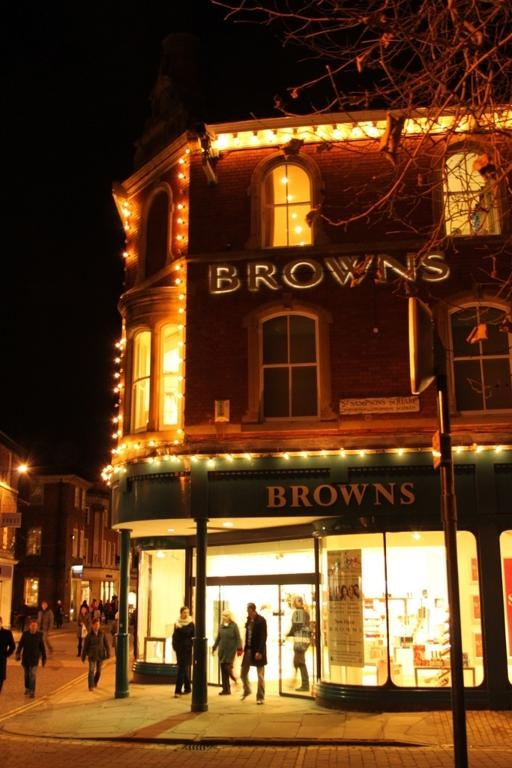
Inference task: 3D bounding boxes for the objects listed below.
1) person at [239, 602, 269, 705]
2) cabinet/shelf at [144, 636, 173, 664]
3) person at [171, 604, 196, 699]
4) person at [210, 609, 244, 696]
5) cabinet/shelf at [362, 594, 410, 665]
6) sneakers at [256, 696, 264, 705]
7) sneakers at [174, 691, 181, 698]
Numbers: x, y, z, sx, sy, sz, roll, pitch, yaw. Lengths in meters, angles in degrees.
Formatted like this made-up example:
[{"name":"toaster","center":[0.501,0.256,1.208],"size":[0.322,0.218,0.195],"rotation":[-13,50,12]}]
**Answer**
[{"name":"person","center":[-0.065,4.798,13.877],"size":[0.421,1.689,0.867],"rotation":[0,-15,-3]},{"name":"cabinet/shelf","center":[-2.142,5.753,16.868],"size":[0.646,0.620,0.654],"rotation":[0,-20,1]},{"name":"person","center":[-1.385,4.963,14.368],"size":[0.375,1.601,1.179],"rotation":[1,-16,-6]},{"name":"person","center":[-0.571,5.171,14.902],"size":[0.544,1.516,0.992],"rotation":[0,-15,-3]},{"name":"cabinet/shelf","center":[2.072,3.960,12.797],"size":[0.950,1.066,0.243],"rotation":[8,-5,-34]},{"name":"sneakers","center":[0.056,5.538,13.569],"size":[0.090,0.114,0.269],"rotation":[0,-20,3]},{"name":"sneakers","center":[-1.476,5.748,14.340],"size":[0.064,0.107,0.151],"rotation":[2,-6,0]}]
